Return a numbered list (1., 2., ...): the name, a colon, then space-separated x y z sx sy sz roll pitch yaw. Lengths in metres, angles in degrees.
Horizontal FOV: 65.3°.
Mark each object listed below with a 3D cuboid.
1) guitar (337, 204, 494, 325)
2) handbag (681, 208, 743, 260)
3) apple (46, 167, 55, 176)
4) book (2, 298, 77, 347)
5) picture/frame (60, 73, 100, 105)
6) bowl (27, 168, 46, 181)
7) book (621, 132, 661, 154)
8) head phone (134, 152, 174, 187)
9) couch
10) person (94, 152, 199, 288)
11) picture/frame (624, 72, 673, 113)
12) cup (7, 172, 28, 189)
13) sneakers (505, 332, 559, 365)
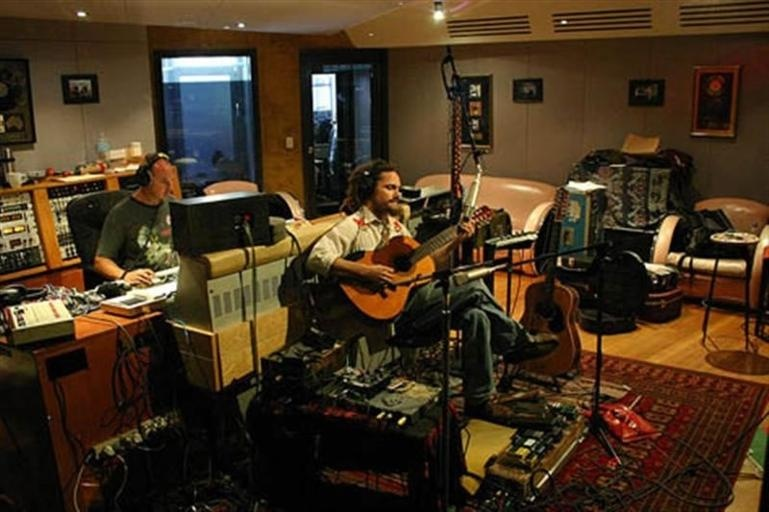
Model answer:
1. guitar: 0.190 0.031 3.777 1.012 0.384 0.142 -33 -8 -37
2. handbag: 3.112 -0.222 5.763 0.446 0.544 0.186 1 -22 0
3. apple: -2.742 -0.693 4.922 0.066 0.062 0.061 -4 -14 -1
4. book: -1.736 0.331 3.016 0.278 0.139 0.347 -11 17 -31
5. picture/frame: -2.436 -1.344 4.770 0.259 0.183 0.027 -19 35 -41
6. bowl: -2.831 -0.670 4.890 0.135 0.085 0.040 -5 16 -9
7. book: 2.649 -1.164 6.226 0.310 0.101 0.298 13 60 27
8. head phone: -1.441 -0.555 3.839 0.219 0.194 0.080 -2 -14 16
9. couch: 1.126 -0.474 6.750 1.284 0.559 1.239 15 39 12
10. person: -1.528 -0.243 3.979 0.551 0.872 0.791 13 12 19
11. picture/frame: 2.789 -1.740 6.289 0.446 0.361 0.059 5 12 23
12. cup: -2.923 -0.612 4.767 0.096 0.091 0.136 9 4 34
13. sneakers: 1.002 0.570 3.995 0.339 0.102 0.232 -10 7 -12
